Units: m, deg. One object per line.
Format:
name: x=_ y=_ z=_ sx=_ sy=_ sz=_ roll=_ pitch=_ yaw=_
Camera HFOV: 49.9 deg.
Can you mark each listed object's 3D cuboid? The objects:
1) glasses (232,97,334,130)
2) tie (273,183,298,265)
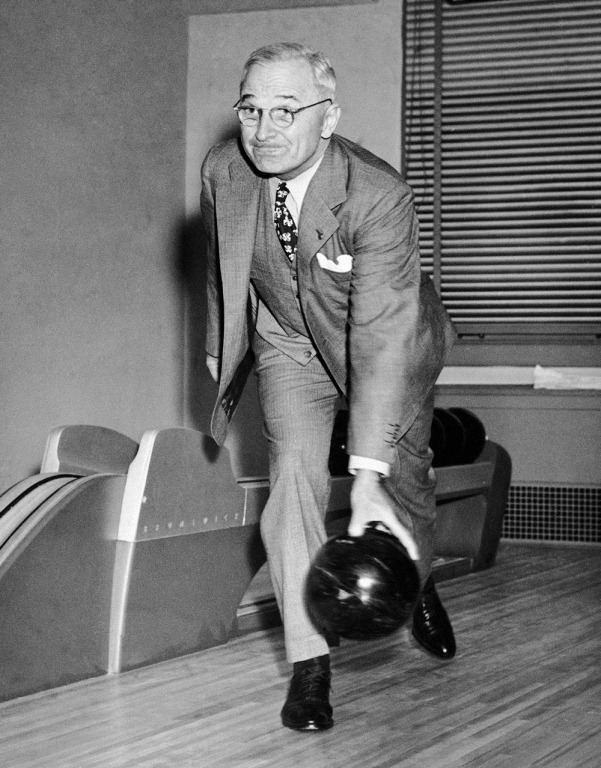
glasses: x=-0.028 y=-0.427 z=1.013 sx=0.156 sy=0.044 sz=0.105 roll=0 pitch=22 yaw=-1
tie: x=-0.028 y=-0.282 z=1.118 sx=0.033 sy=0.151 sz=0.031 roll=-4 pitch=1 yaw=45
